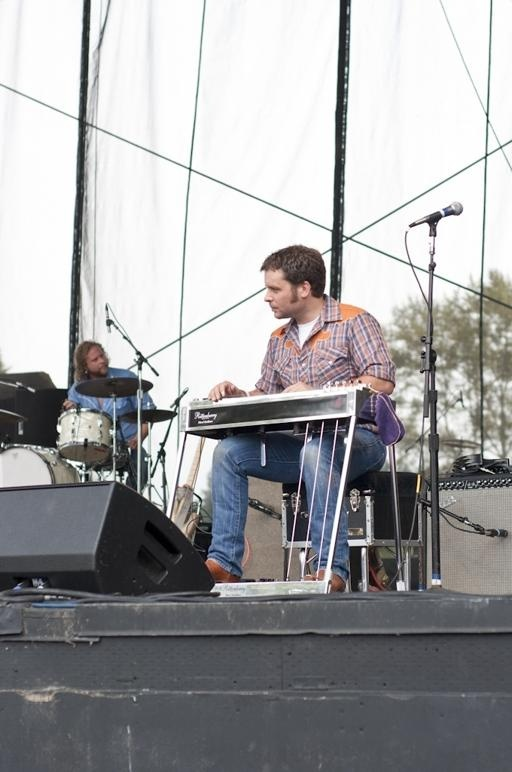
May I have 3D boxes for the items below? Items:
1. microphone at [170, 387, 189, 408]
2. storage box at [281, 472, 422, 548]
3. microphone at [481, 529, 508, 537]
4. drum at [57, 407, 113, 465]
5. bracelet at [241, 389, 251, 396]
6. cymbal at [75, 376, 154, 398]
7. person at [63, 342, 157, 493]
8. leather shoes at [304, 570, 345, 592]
[{"bbox_3d":[-0.463,0.063,12.684,0.061,0.037,0.220,42,-21,1],"label":"microphone"},{"bbox_3d":[0.445,0.586,10.153,0.552,0.409,0.550,-1,0,31],"label":"storage box"},{"bbox_3d":[1.118,0.683,9.710,0.109,0.044,0.033,5,-5,17],"label":"microphone"},{"bbox_3d":[-0.997,0.274,11.879,0.251,0.229,0.281,12,-26,-23],"label":"drum"},{"bbox_3d":[-0.050,0.030,9.008,0.032,0.018,0.022,-10,37,-34],"label":"bracelet"},{"bbox_3d":[-0.812,0.002,11.844,0.202,0.053,0.217,6,-22,-33],"label":"cymbal"},{"bbox_3d":[-0.839,0.200,11.945,0.524,0.655,1.352,-1,23,-10],"label":"person"},{"bbox_3d":[0.274,0.791,8.477,0.165,0.079,0.262,6,-6,8],"label":"leather shoes"}]
